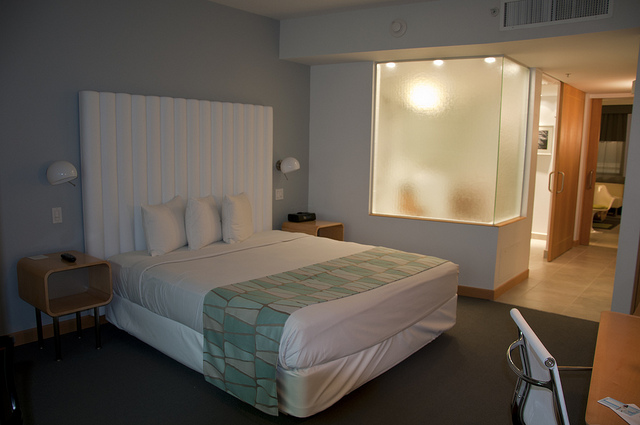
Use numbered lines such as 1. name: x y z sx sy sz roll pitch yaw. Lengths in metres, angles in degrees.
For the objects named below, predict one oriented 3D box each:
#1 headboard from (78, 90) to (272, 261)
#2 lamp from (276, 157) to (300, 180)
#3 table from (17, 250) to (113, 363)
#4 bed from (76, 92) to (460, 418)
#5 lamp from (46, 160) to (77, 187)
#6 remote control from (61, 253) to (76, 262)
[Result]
1. headboard: -1.729 -0.410 4.790 1.951 1.814 0.144 -5 10 -39
2. lamp: -0.457 -0.658 5.911 0.206 0.229 0.268 -10 17 -41
3. table: -2.552 0.936 4.158 0.778 1.217 0.846 6 9 38
4. bed: -0.696 0.076 4.338 3.179 2.559 2.204 11 18 38
5. lamp: -2.598 -0.379 4.230 0.253 0.276 0.159 -11 18 -36
6. remote control: -2.448 0.425 4.116 0.235 0.069 0.070 15 3 34
